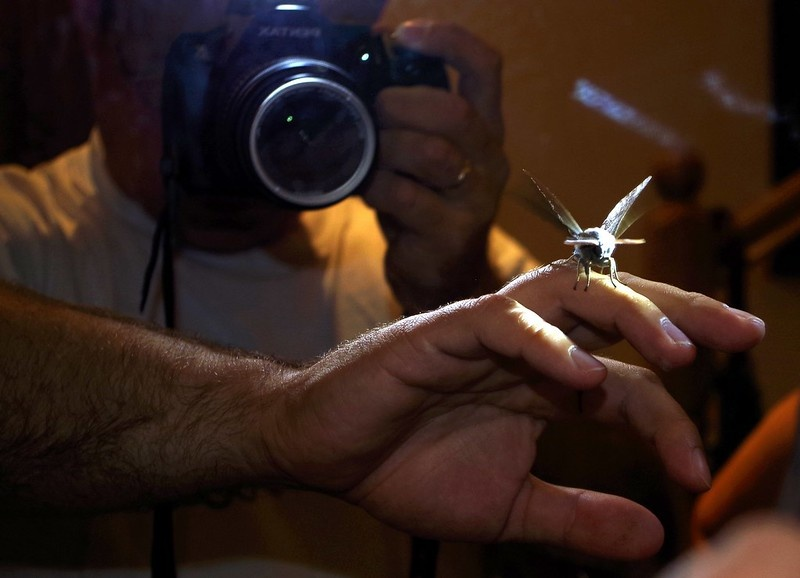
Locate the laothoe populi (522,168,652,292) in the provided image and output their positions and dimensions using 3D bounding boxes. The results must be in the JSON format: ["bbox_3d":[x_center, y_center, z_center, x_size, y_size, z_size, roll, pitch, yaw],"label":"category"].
[{"bbox_3d":[0.336,-0.101,1.420,0.227,0.203,0.169,0,8,-14],"label":"laothoe populi"}]

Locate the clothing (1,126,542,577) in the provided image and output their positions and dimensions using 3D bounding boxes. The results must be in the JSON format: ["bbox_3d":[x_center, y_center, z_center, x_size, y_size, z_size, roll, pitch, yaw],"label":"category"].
[{"bbox_3d":[-0.609,0.095,2.340,1.120,1.219,0.417,-10,3,-22],"label":"clothing"}]
